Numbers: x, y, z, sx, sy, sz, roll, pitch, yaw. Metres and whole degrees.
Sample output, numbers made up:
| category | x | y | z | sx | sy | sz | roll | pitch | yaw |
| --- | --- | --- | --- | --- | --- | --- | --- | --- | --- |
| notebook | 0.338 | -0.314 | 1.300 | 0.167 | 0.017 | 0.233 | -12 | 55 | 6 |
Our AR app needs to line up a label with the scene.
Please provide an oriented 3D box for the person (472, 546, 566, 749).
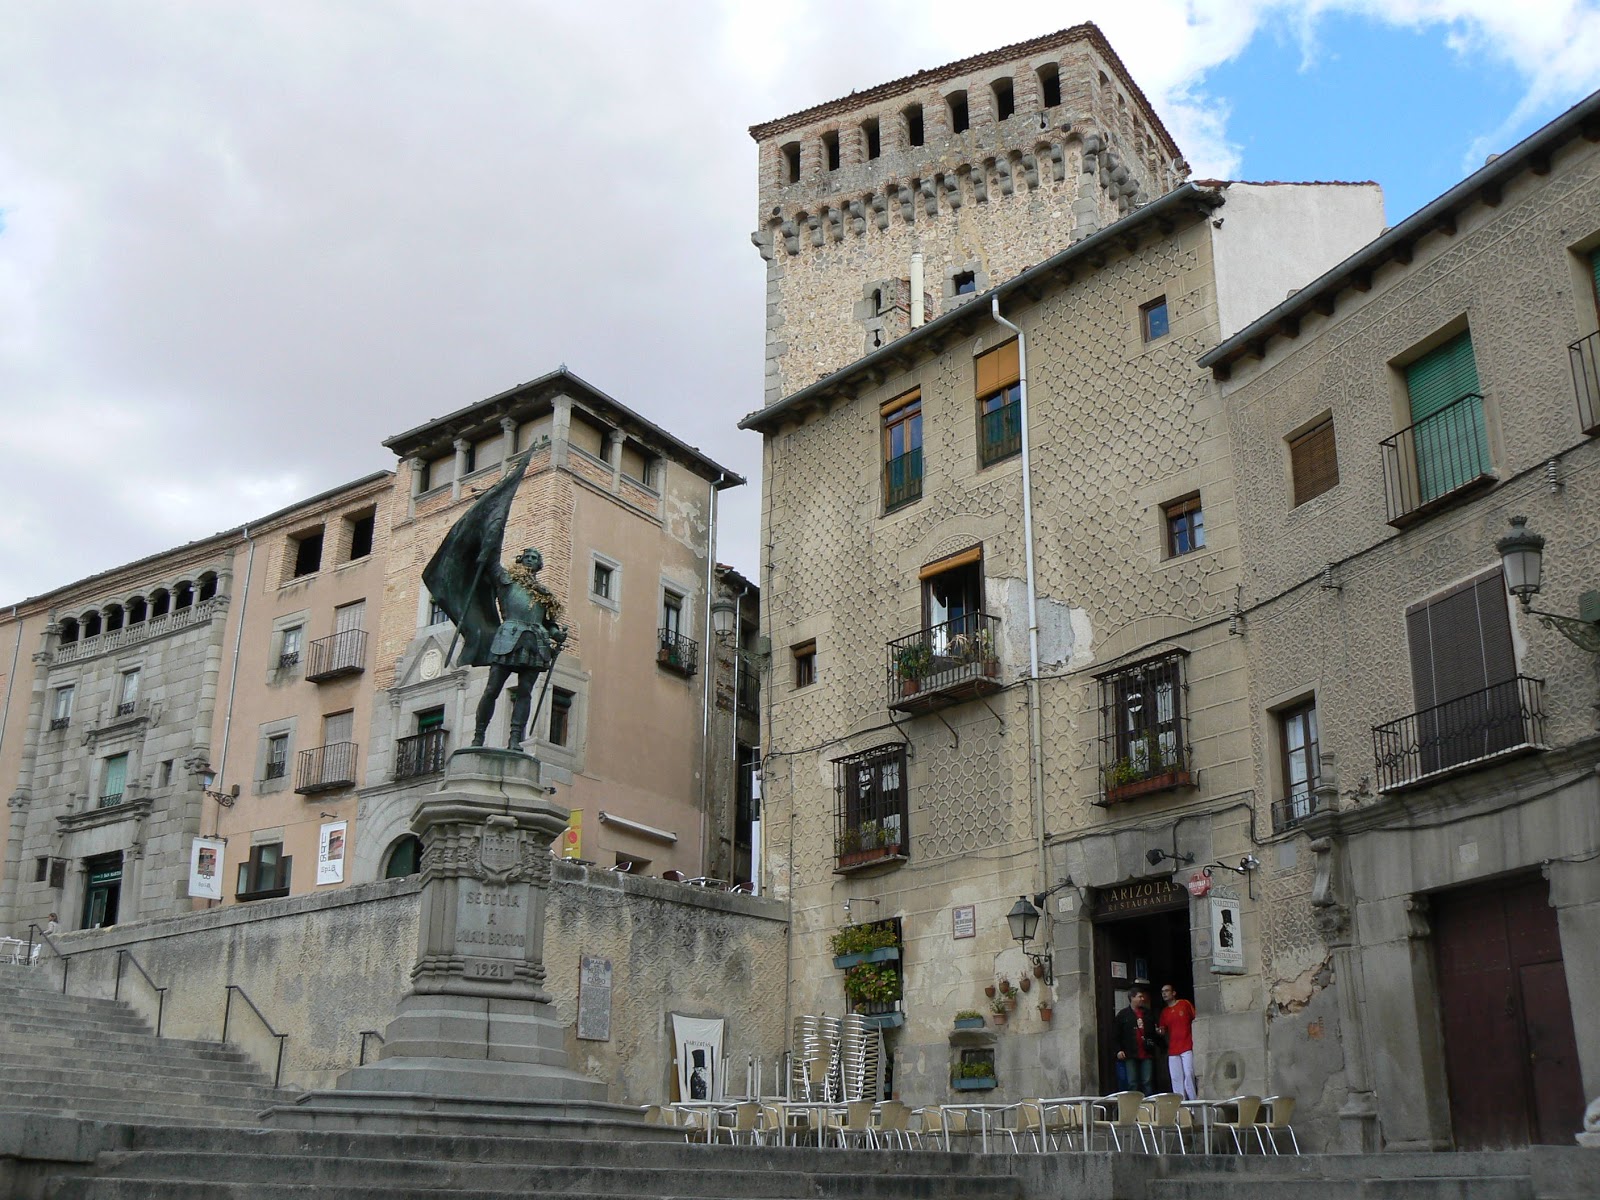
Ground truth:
| category | x | y | z | sx | sy | sz | roll | pitch | yaw |
| --- | --- | --- | --- | --- | --- | --- | --- | --- | --- |
| person | -3.678 | 0.564 | 20.087 | 1.019 | 3.355 | 1.535 | 5 | -28 | -10 |

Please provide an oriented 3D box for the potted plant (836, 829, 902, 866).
| category | x | y | z | sx | sy | sz | roll | pitch | yaw |
| --- | --- | --- | --- | --- | --- | --- | --- | --- | --- |
| potted plant | 1.239 | 4.237 | 25.998 | 1.288 | 0.669 | 0.256 | -23 | -35 | 34 |

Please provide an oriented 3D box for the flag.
| category | x | y | z | sx | sy | sz | roll | pitch | yaw |
| --- | --- | --- | --- | --- | --- | --- | --- | --- | --- |
| flag | -4.329 | -0.556 | 20.432 | 1.303 | 3.113 | 0.510 | 17 | -32 | -30 |

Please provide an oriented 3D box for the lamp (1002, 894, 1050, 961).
| category | x | y | z | sx | sy | sz | roll | pitch | yaw |
| --- | --- | --- | --- | --- | --- | --- | --- | --- | --- |
| lamp | 3.538 | 5.009 | 23.087 | 0.815 | 1.270 | 0.849 | 2 | -11 | 4 |
